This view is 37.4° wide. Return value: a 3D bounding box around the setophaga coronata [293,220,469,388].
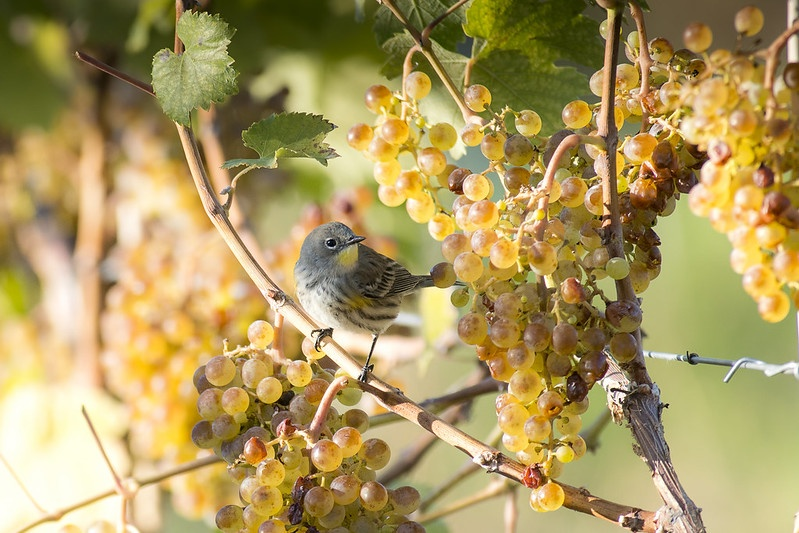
[{"bbox_3d":[-0.107,0.031,5.140,0.764,0.434,0.648,-19,-59,-38],"label":"setophaga coronata"}]
